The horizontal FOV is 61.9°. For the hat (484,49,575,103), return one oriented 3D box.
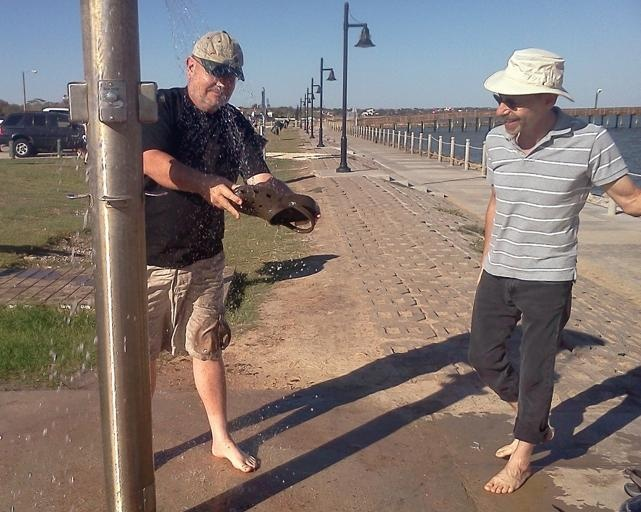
[{"bbox_3d":[1.048,-0.928,2.717,0.416,0.243,0.283,6,18,19],"label":"hat"}]

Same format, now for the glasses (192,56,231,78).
[{"bbox_3d":[-0.564,-0.977,2.780,0.149,0.115,0.056,33,2,17],"label":"glasses"}]

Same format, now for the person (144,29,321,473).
[{"bbox_3d":[-0.617,0.004,2.999,0.741,2.375,0.810,-2,17,-6],"label":"person"}]

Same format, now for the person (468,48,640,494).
[{"bbox_3d":[1.182,-0.039,2.840,0.769,2.019,0.573,6,18,19],"label":"person"}]

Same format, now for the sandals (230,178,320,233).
[{"bbox_3d":[-0.282,-0.254,2.724,0.510,0.184,0.250,10,31,-18],"label":"sandals"}]
